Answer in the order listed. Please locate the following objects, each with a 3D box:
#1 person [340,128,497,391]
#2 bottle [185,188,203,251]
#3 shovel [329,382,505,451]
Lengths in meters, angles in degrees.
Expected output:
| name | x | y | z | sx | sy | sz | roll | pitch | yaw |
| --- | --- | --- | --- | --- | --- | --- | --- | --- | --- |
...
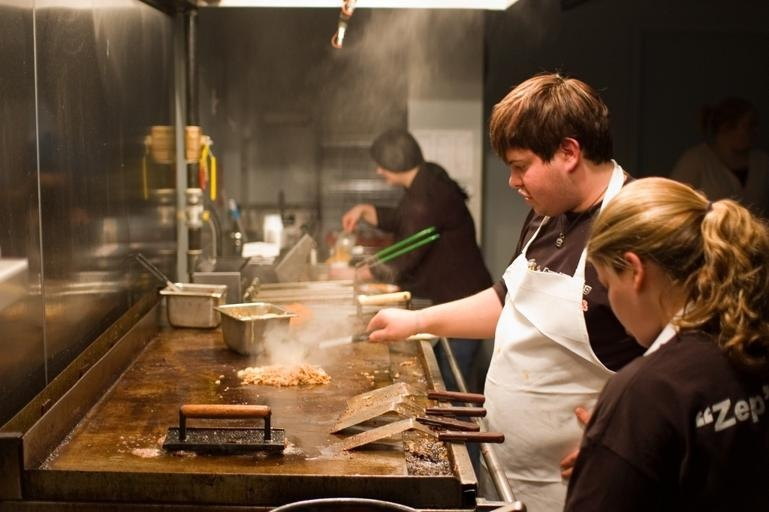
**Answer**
| name | x | y | z | sx | sy | sz | roll | pitch | yaw |
| --- | --- | --- | --- | --- | --- | --- | --- | --- | --- |
| person | 0.251 | 0.135 | 3.769 | 0.700 | 1.525 | 0.575 | -14 | 19 | -18 |
| bottle | -0.886 | -0.179 | 3.353 | 0.081 | 0.300 | 0.169 | -3 | 9 | -14 |
| shovel | 0.101 | 0.485 | 2.181 | 0.501 | 0.147 | 0.352 | 1 | 8 | 6 |
